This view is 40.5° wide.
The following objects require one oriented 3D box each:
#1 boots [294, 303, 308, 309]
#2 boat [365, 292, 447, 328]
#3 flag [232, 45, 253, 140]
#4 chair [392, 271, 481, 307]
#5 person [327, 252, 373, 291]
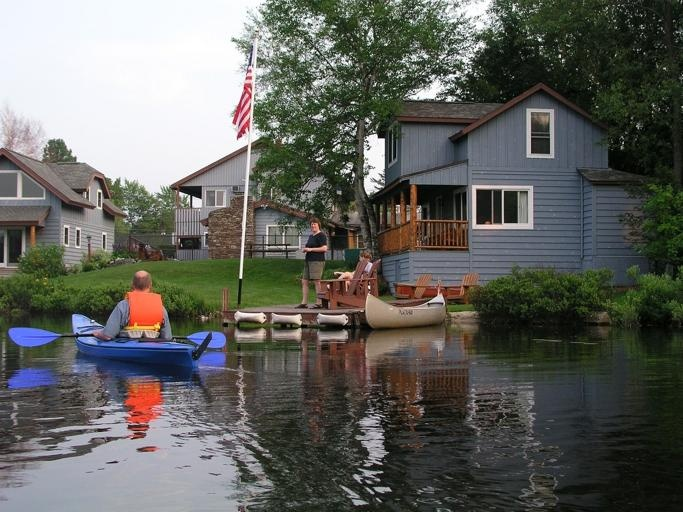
[{"bbox_3d":[-1.213,1.493,27.615,0.354,0.136,0.129,3,-3,14],"label":"boots"},{"bbox_3d":[1.918,1.574,26.766,3.146,0.909,0.841,-1,2,-39],"label":"boat"},{"bbox_3d":[-3.104,-5.151,29.269,0.639,2.884,2.207,0,8,-5],"label":"flag"},{"bbox_3d":[3.507,1.159,32.719,2.333,1.062,1.386,0,-1,-8],"label":"chair"},{"bbox_3d":[0.485,0.399,27.672,1.515,1.072,0.865,-1,0,-5],"label":"person"}]
